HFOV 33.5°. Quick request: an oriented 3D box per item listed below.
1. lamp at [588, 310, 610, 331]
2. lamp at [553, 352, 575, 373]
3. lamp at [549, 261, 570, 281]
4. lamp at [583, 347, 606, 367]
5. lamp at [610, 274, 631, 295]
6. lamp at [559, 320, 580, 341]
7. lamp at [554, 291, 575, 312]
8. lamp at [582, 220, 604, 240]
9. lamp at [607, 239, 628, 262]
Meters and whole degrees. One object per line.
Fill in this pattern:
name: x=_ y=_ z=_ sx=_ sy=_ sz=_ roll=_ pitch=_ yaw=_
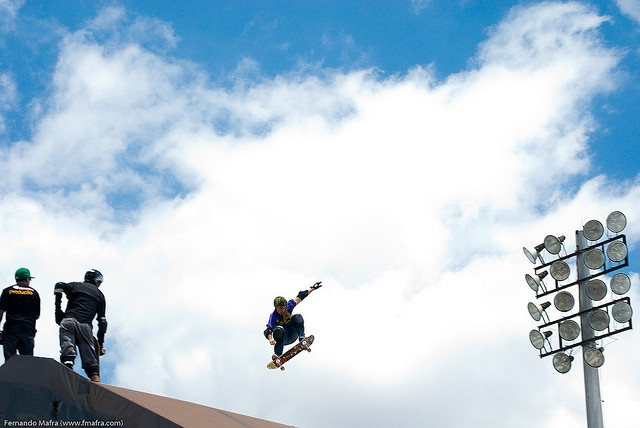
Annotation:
lamp: x=10.363 y=4.004 z=39.637 sx=0.768 sy=0.892 sz=0.405 roll=-13 pitch=-39 yaw=19
lamp: x=9.132 y=5.594 z=40.056 sx=0.688 sy=1.053 sz=0.963 roll=-7 pitch=-36 yaw=11
lamp: x=9.218 y=2.250 z=41.169 sx=0.772 sy=0.856 sz=0.521 roll=-26 pitch=-44 yaw=32
lamp: x=10.229 y=5.343 z=39.507 sx=0.419 sy=0.897 sz=0.849 roll=21 pitch=-40 yaw=-24
lamp: x=11.195 y=2.665 z=39.694 sx=0.642 sy=1.087 sz=0.891 roll=-6 pitch=-36 yaw=10
lamp: x=9.448 y=4.473 z=40.335 sx=0.375 sy=0.955 sz=0.857 roll=27 pitch=-43 yaw=-30
lamp: x=9.398 y=3.415 z=40.950 sx=0.807 sy=0.820 sz=0.402 roll=-25 pitch=-44 yaw=32
lamp: x=10.499 y=0.722 z=40.917 sx=0.408 sy=0.962 sz=0.696 roll=31 pitch=-45 yaw=-33
lamp: x=11.168 y=1.476 z=40.053 sx=0.664 sy=1.099 sz=0.611 roll=-2 pitch=-37 yaw=4
